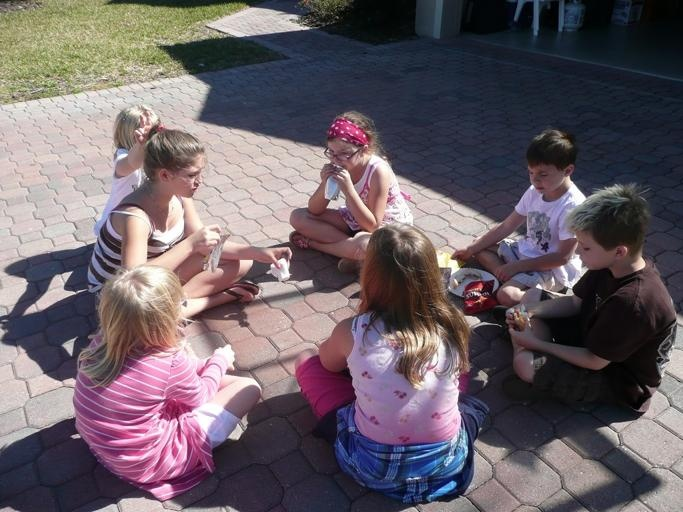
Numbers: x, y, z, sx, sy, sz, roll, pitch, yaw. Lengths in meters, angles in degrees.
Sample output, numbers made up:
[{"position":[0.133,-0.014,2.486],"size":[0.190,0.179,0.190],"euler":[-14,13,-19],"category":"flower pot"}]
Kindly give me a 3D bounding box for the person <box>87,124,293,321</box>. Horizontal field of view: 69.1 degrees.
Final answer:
[{"position":[-1.107,-0.219,3.615],"size":[1.679,1.243,1.024],"euler":[-4,21,-33],"category":"person"}]

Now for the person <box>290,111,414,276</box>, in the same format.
[{"position":[0.066,-0.587,4.167],"size":[1.119,1.074,1.082],"euler":[14,27,36],"category":"person"}]

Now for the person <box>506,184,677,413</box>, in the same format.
[{"position":[1.493,0.299,3.046],"size":[1.131,1.291,0.992],"euler":[3,42,13],"category":"person"}]

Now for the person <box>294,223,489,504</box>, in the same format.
[{"position":[0.319,0.567,2.532],"size":[0.814,1.290,0.885],"euler":[-16,37,-23],"category":"person"}]

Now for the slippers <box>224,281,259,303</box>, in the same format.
[{"position":[-0.772,0.271,3.827],"size":[0.225,0.078,0.156],"euler":[-3,12,-35],"category":"slippers"}]

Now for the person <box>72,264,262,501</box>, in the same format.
[{"position":[-1.116,0.673,2.909],"size":[1.042,1.111,1.129],"euler":[9,2,18],"category":"person"}]
